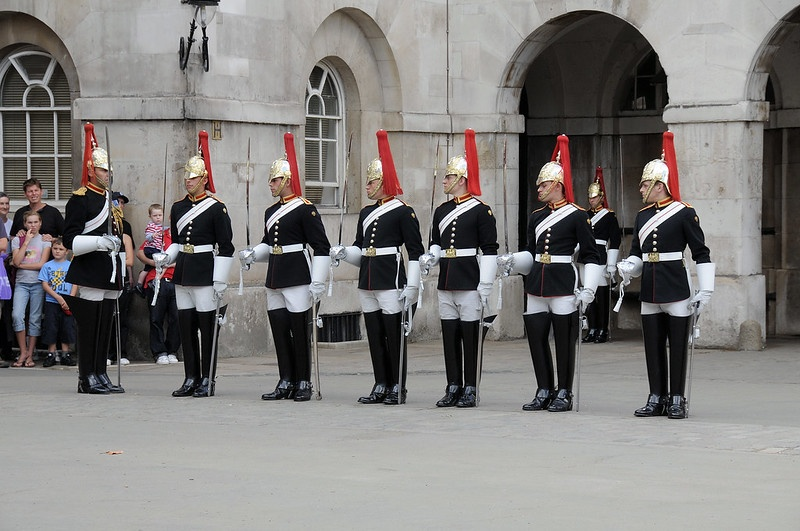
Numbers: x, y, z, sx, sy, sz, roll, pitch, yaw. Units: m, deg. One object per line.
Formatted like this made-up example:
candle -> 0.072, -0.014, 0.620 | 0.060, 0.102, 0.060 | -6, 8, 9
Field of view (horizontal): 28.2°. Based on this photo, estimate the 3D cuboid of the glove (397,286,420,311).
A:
glove -> 0.094, 0.321, 16.473 | 0.267, 0.180, 0.214 | -1, 12, -16

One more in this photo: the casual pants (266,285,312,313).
casual pants -> -1.184, 0.344, 16.732 | 0.515, 0.342, 0.297 | -3, -6, 35

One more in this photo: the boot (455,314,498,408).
boot -> 0.799, 0.962, 16.576 | 0.365, 0.944, 0.711 | 1, 8, 4

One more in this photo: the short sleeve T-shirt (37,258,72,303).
short sleeve T-shirt -> -4.062, 0.179, 18.547 | 0.518, 0.535, 0.113 | 8, -25, -29

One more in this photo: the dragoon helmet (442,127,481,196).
dragoon helmet -> 0.658, -1.072, 16.525 | 0.400, 0.686, 0.297 | 0, 10, -5

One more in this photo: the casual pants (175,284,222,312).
casual pants -> -2.168, 0.313, 16.901 | 0.509, 0.431, 0.288 | 1, 3, 29

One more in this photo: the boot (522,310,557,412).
boot -> 1.400, 0.974, 16.300 | 0.427, 0.988, 0.359 | -7, 7, -34

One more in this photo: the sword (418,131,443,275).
sword -> 0.425, -0.868, 19.828 | 0.245, 2.101, 0.261 | 6, -3, 0

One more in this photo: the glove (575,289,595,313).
glove -> 1.862, 0.350, 16.114 | 0.232, 0.215, 0.110 | 18, -12, -13

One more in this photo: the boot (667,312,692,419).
boot -> 2.787, 0.996, 15.827 | 0.226, 0.982, 0.374 | 2, 8, 10

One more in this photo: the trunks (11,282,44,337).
trunks -> -4.441, 0.538, 18.927 | 0.385, 0.968, 0.231 | 5, -33, -19

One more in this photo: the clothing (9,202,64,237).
clothing -> -4.405, -0.479, 19.289 | 0.808, 0.549, 0.314 | -1, -5, 14

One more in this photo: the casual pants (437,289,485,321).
casual pants -> 0.616, 0.446, 16.498 | 0.523, 0.450, 0.319 | -7, -7, 42

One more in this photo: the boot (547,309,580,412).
boot -> 1.673, 0.949, 16.157 | 0.292, 0.996, 0.420 | 1, 8, 5

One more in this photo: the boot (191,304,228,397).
boot -> -2.052, 0.862, 16.893 | 0.341, 1.021, 0.238 | 6, 1, -33

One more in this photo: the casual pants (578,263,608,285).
casual pants -> 2.015, 0.079, 16.276 | 0.258, 0.168, 0.241 | -1, 3, -9

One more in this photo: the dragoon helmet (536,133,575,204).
dragoon helmet -> 1.672, -1.005, 16.347 | 0.415, 0.660, 0.337 | 5, 5, -43

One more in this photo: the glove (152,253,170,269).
glove -> -2.532, -0.059, 16.825 | 0.145, 0.153, 0.151 | -2, 6, 7

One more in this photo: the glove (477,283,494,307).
glove -> 0.875, 0.292, 16.280 | 0.145, 0.246, 0.189 | 1, 8, 3

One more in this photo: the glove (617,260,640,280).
glove -> 2.310, 0.038, 16.047 | 0.224, 0.146, 0.167 | 11, -13, -16

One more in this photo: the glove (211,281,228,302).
glove -> -1.902, 0.257, 16.732 | 0.159, 0.182, 0.195 | 4, 5, 3

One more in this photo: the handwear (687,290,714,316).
handwear -> 2.995, 0.351, 15.781 | 0.216, 0.265, 0.154 | 4, 9, 22

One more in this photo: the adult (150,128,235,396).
adult -> -2.192, 0.021, 16.913 | 0.923, 2.692, 0.850 | 0, 2, 35

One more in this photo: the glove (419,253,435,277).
glove -> 0.286, -0.023, 16.401 | 0.139, 0.218, 0.242 | 2, 8, 14
